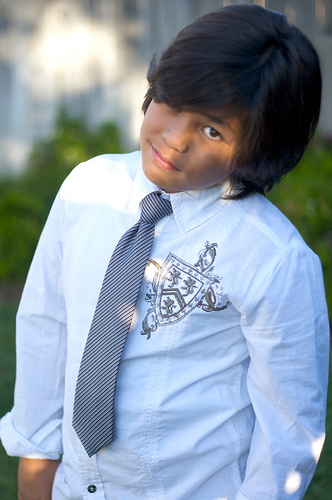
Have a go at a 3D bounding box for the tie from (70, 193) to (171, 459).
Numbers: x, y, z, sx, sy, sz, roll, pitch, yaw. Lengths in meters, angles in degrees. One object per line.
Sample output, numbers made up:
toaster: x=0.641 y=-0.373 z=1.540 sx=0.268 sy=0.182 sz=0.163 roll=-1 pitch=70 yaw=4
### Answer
tie: x=-0.085 y=0.148 z=1.608 sx=0.123 sy=0.671 sz=0.036 roll=18 pitch=-1 yaw=28
